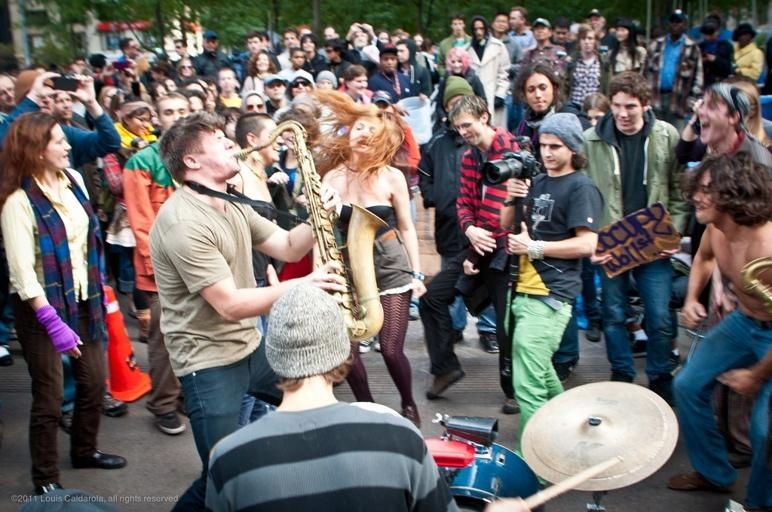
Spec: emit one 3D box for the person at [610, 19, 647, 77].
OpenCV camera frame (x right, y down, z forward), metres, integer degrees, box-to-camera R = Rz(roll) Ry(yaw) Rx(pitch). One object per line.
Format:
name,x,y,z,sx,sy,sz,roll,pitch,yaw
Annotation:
person,4.392,-3.768,13.600,0.633,0.909,0.877,4,17,17

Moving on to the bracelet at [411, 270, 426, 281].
bracelet,0.297,0.181,6.906,0.113,0.065,0.085,19,53,33

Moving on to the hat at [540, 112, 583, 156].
hat,1.559,-1.094,6.631,0.421,0.309,0.357,12,18,14

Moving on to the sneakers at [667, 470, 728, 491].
sneakers,2.540,1.871,6.257,0.519,0.189,0.169,3,7,14

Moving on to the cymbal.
cymbal,1.450,1.171,5.272,1.072,0.196,1.051,-5,33,30

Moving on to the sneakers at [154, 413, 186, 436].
sneakers,-1.987,1.553,7.041,0.318,0.117,0.147,8,18,30

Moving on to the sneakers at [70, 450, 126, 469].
sneakers,-2.459,1.752,6.569,0.490,0.162,0.168,0,20,-12

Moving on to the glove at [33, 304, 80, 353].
glove,-2.552,0.572,5.944,0.421,0.128,0.281,44,25,20

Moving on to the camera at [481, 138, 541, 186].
camera,1.053,-0.776,6.292,0.447,0.282,0.471,-18,24,-24

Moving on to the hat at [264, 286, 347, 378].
hat,-0.479,0.379,4.472,0.558,0.466,0.533,-2,17,-9

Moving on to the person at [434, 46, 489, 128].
person,1.236,-2.220,12.136,0.842,2.124,0.784,-3,19,8

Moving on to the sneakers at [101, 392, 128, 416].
sneakers,-2.696,1.443,7.345,0.365,0.155,0.160,2,29,18

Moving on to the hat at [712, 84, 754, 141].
hat,2.997,-1.291,6.588,0.345,0.418,0.179,5,19,22
